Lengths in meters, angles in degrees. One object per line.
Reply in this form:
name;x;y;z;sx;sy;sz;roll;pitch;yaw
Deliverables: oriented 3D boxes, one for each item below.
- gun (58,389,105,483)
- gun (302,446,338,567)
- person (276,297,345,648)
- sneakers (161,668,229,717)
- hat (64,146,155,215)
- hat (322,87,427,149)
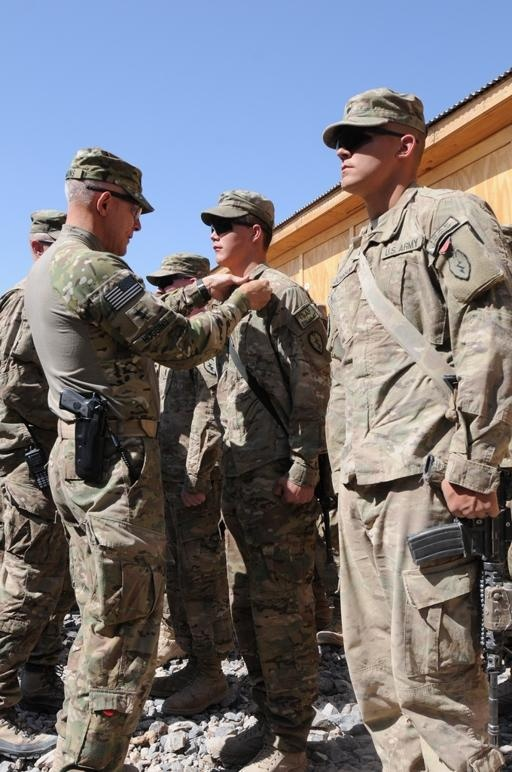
gun;-0.593;0.169;2.739;0.168;0.342;0.088;-8;-5;2
gun;0.290;0.568;3.518;0.109;0.445;0.193;-4;-8;2
person;0.219;0.312;3.291;0.317;1.616;0.631;-1;-8;1
sneakers;-0.306;1.565;4.045;0.416;0.169;0.159;1;-1;-43
hat;-0.575;-0.823;3.142;0.346;0.149;0.221;11;-5;-28
hat;0.430;-0.975;2.820;0.361;0.150;0.244;-13;14;-20
